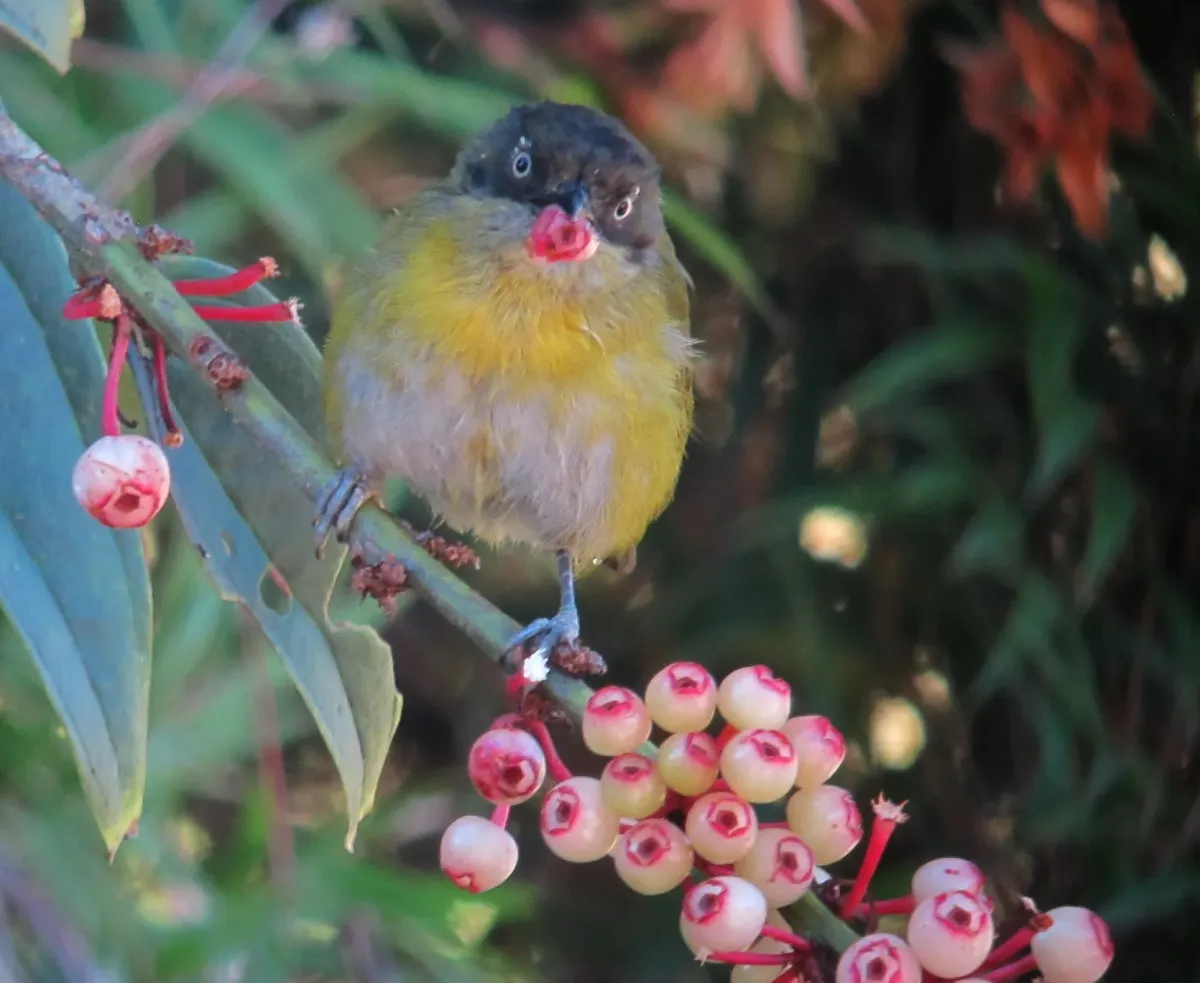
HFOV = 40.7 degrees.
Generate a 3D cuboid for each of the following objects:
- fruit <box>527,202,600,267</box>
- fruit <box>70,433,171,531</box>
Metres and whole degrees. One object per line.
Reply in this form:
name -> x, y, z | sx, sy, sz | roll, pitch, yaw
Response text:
fruit -> -0.061, -0.386, 2.466 | 0.079, 0.046, 0.101 | 32, -55, -25
fruit -> -0.575, -0.012, 1.972 | 0.102, 0.112, 0.116 | 0, -90, 4
